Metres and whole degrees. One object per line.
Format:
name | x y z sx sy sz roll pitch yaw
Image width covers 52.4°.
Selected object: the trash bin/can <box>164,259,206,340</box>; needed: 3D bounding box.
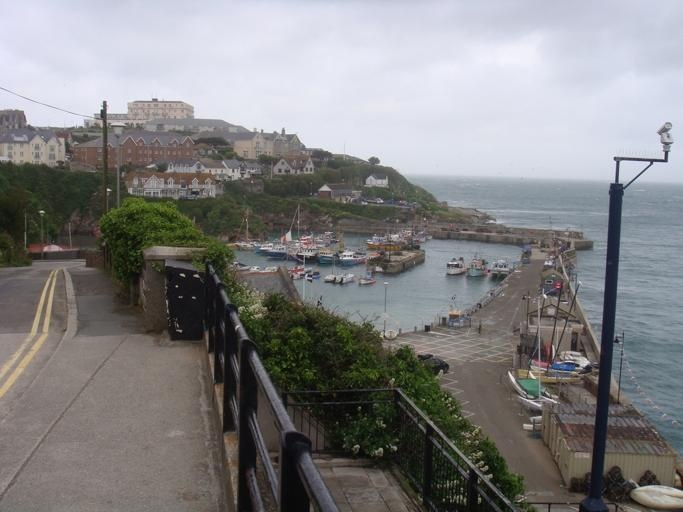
trash bin/can | -2.183 0.659 9.781 0.662 1.056 0.471 1 8 5
